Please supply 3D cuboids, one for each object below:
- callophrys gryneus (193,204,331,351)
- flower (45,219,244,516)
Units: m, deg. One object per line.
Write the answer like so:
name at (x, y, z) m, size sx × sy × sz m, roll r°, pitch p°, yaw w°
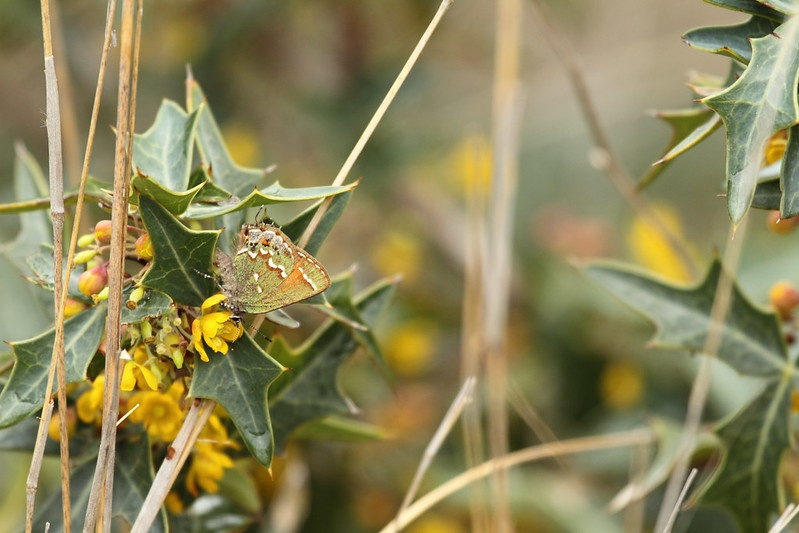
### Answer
callophrys gryneus at (-0.300, 0.049, 2.054) m, size 0.186 × 0.240 × 0.188 m, roll -6°, pitch -43°, yaw -16°
flower at (-0.509, 0.208, 2.109) m, size 0.307 × 0.605 × 0.545 m, roll -3°, pitch -53°, yaw 8°
